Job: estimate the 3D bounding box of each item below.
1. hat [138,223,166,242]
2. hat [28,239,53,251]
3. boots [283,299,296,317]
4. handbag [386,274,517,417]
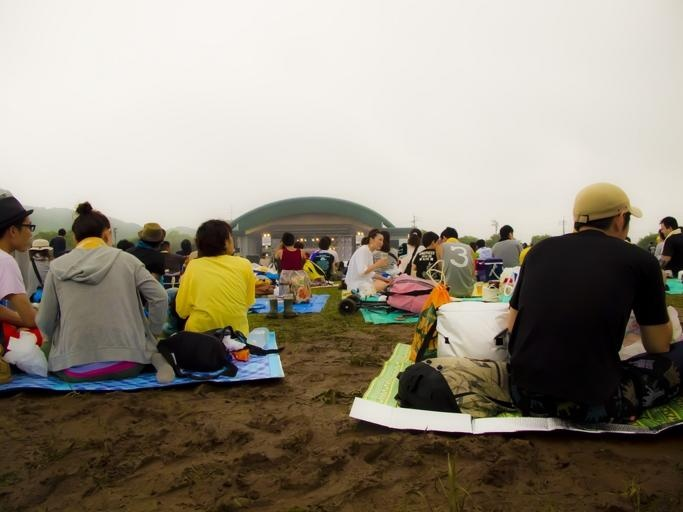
[{"bbox_3d":[-2.733,-0.342,5.941,0.334,0.150,0.401,9,33,-11],"label":"hat"},{"bbox_3d":[-5.206,-0.203,7.122,0.350,0.174,0.446,0,0,-41],"label":"hat"},{"bbox_3d":[-0.921,0.919,7.381,0.282,0.296,0.316,0,3,11],"label":"boots"},{"bbox_3d":[0.922,0.715,3.478,0.875,0.876,1.239,0,13,11],"label":"handbag"}]
